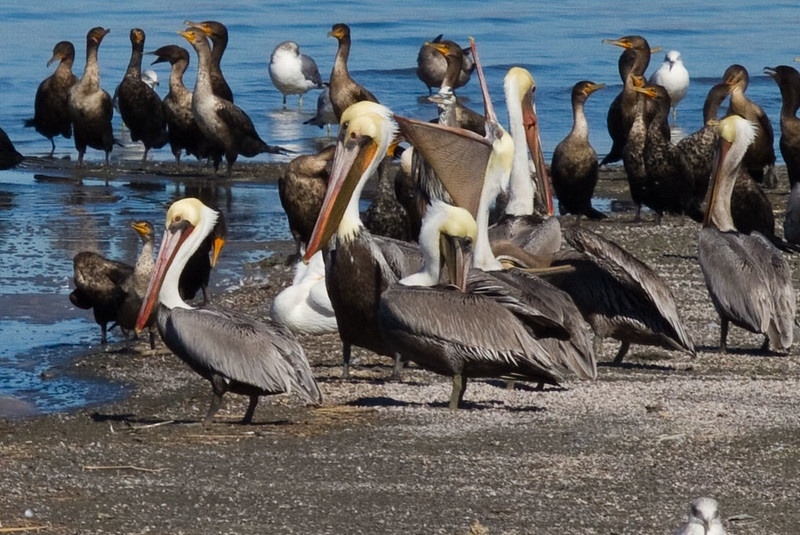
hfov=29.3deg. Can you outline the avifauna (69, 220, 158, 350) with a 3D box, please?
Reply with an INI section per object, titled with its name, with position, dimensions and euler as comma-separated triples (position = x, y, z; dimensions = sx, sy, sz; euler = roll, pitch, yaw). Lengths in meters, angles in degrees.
[avifauna]
position = -3.584, 0.196, 19.402
dimensions = 0.916, 1.512, 2.309
euler = -3, 7, -38
